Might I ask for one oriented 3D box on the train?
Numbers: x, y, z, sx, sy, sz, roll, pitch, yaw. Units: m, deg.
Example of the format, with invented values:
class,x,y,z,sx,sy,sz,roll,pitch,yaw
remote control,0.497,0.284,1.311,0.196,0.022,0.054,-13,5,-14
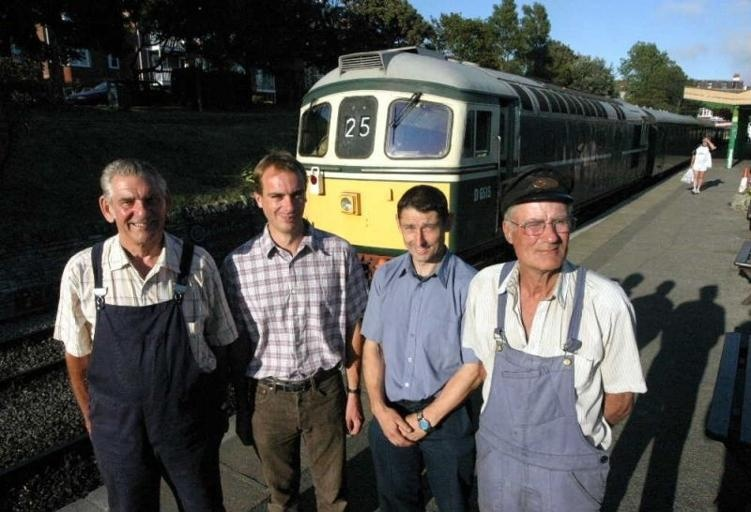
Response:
class,x,y,z,sx,sy,sz,roll,pitch,yaw
train,5.686,-3.874,18.869,3.515,4.692,22.325,5,14,26
